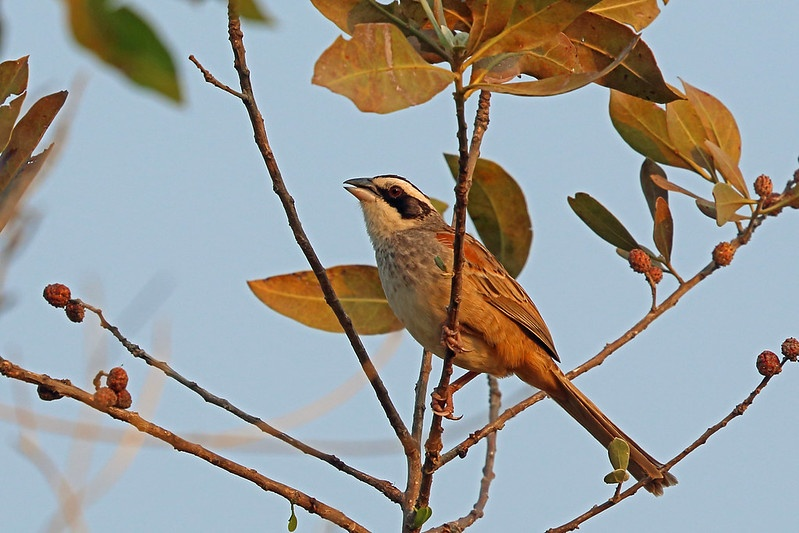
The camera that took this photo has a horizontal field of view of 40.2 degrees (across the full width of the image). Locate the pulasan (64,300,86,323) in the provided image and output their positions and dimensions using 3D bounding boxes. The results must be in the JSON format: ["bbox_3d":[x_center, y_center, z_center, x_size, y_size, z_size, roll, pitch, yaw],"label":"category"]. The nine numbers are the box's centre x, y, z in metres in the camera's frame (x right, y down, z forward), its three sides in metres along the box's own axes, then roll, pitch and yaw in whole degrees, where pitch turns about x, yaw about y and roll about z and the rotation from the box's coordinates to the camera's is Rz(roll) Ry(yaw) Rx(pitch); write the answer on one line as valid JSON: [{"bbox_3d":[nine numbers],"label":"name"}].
[{"bbox_3d":[-1.632,0.217,5.492,0.060,0.097,0.091,-36,-41,-19],"label":"pulasan"}]

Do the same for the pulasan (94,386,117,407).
[{"bbox_3d":[-1.576,0.692,5.879,0.122,0.086,0.064,18,-61,-24],"label":"pulasan"}]
